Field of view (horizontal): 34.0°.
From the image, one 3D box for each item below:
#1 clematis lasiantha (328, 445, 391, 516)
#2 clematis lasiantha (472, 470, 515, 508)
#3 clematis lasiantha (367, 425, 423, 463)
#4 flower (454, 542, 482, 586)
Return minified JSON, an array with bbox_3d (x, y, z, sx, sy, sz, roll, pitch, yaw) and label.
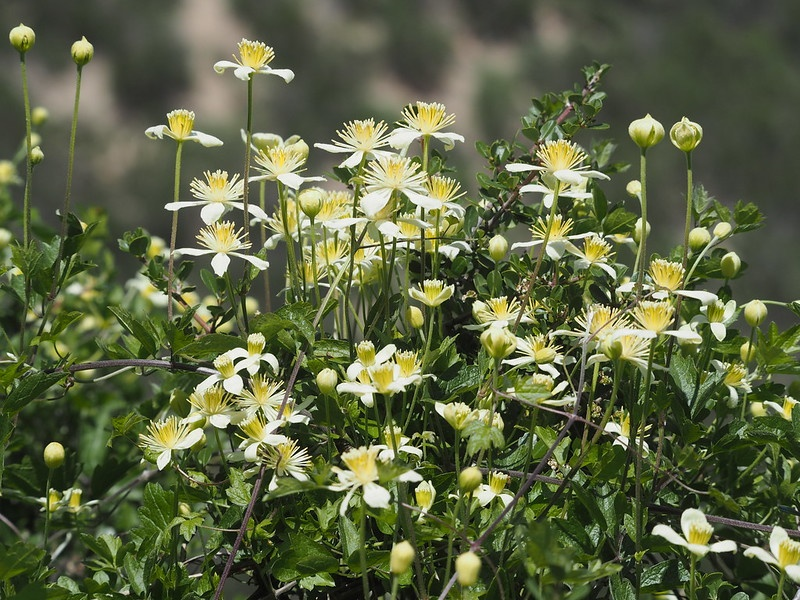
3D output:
[{"bbox_3d":[-0.077,0.364,2.575,0.115,0.170,0.147,-3,46,-2],"label":"clematis lasiantha"},{"bbox_3d":[0.190,0.381,2.635,0.060,0.077,0.069,9,21,17],"label":"clematis lasiantha"},{"bbox_3d":[-0.004,0.288,2.613,0.069,0.051,0.072,22,40,38],"label":"clematis lasiantha"},{"bbox_3d":[0.132,0.506,2.528,0.046,0.093,0.105,1,47,2],"label":"flower"}]
